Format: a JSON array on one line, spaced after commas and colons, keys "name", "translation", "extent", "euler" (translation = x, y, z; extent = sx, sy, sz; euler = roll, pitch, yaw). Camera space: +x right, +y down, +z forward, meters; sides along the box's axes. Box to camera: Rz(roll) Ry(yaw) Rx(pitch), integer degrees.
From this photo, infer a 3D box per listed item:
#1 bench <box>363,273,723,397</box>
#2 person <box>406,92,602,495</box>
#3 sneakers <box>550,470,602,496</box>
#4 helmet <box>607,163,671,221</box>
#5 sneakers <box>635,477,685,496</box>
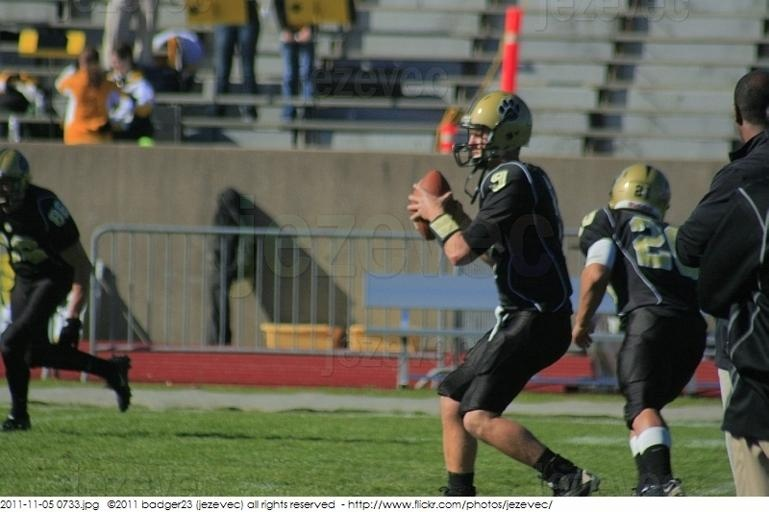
[{"name": "bench", "translation": [0.448, 0.764, 19.340], "extent": [2.639, 1.176, 0.902], "euler": [-3, -3, -19]}, {"name": "person", "translation": [0.978, 0.330, 17.097], "extent": [1.450, 3.311, 0.845], "euler": [8, 7, 41]}, {"name": "sneakers", "translation": [1.541, 1.844, 16.898], "extent": [0.373, 0.187, 0.151], "euler": [-5, 15, -3]}, {"name": "helmet", "translation": [2.207, -0.557, 18.038], "extent": [0.447, 0.457, 0.522], "euler": [10, 7, 5]}, {"name": "sneakers", "translation": [2.257, 1.899, 17.226], "extent": [0.381, 0.146, 0.135], "euler": [2, -10, 10]}]
